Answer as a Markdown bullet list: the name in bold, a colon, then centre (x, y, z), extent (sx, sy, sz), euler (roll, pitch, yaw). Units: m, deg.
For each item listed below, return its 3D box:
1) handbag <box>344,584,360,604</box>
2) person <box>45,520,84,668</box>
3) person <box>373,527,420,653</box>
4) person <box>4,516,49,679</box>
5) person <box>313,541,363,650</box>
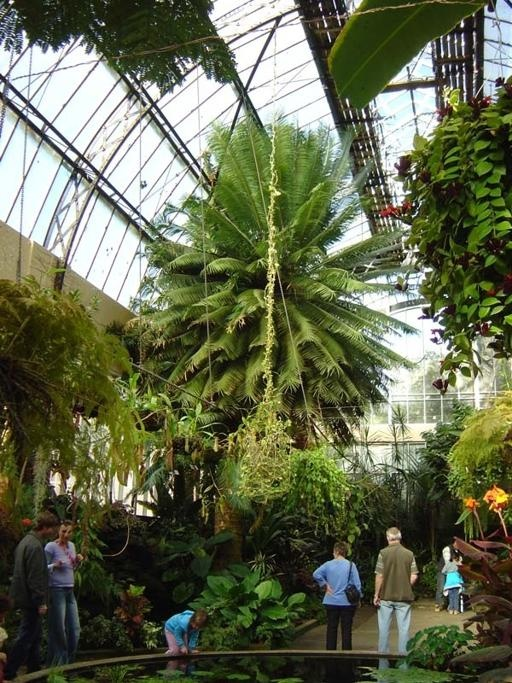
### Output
- **handbag**: centre (0.819, 2.169, 5.039), extent (0.080, 0.164, 0.185), euler (-11, -8, 36)
- **person**: centre (-1.450, 1.859, 4.336), extent (0.322, 0.976, 0.509), euler (8, -18, -13)
- **person**: centre (1.259, 2.215, 5.251), extent (0.380, 1.026, 0.331), euler (2, -18, 6)
- **person**: centre (-1.503, 1.664, 3.855), extent (0.269, 1.008, 0.417), euler (9, -18, -16)
- **person**: centre (0.724, 2.286, 5.200), extent (0.424, 0.953, 1.209), euler (1, -17, 7)
